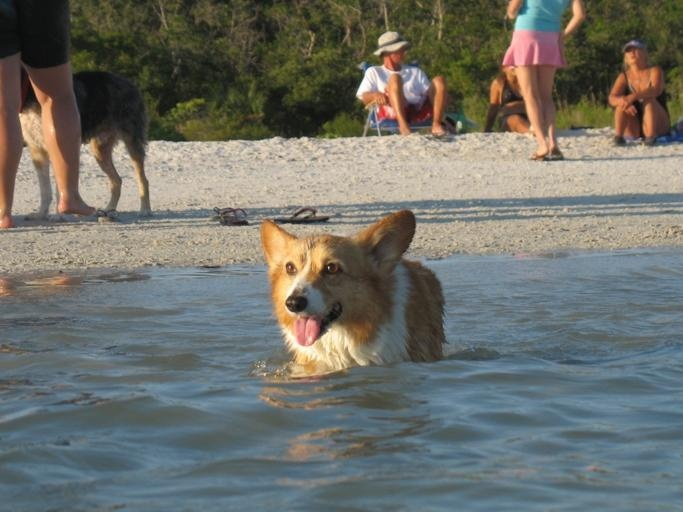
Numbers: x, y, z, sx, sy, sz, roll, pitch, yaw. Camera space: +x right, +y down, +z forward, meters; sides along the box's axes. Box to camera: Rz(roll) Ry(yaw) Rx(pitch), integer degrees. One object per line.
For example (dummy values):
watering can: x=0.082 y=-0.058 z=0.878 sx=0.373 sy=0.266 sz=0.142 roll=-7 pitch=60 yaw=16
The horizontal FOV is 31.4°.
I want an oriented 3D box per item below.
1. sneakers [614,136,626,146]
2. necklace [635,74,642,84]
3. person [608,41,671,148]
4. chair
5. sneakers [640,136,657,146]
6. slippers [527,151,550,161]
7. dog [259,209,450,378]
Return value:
sneakers: x=4.145 y=-1.695 z=18.069 sx=0.124 sy=0.171 sz=0.179 roll=-3 pitch=-7 yaw=18
necklace: x=4.325 y=-2.558 z=17.651 sx=0.165 sy=0.137 sz=0.041 roll=0 pitch=-4 yaw=19
person: x=4.417 y=-2.410 z=17.989 sx=0.862 sy=1.554 sz=1.146 roll=-1 pitch=6 yaw=14
chair: x=0.930 y=-2.520 z=19.509 sx=1.298 sy=1.265 sz=1.710 roll=-6 pitch=9 yaw=-31
sneakers: x=4.579 y=-1.693 z=18.063 sx=0.116 sy=0.137 sz=0.362 roll=2 pitch=-3 yaw=11
slippers: x=2.724 y=-1.364 z=16.715 sx=0.099 sy=0.113 sz=0.275 roll=-5 pitch=9 yaw=-42
dog: x=0.142 y=0.388 z=9.122 sx=1.188 sy=1.302 sz=1.869 roll=-5 pitch=4 yaw=24
